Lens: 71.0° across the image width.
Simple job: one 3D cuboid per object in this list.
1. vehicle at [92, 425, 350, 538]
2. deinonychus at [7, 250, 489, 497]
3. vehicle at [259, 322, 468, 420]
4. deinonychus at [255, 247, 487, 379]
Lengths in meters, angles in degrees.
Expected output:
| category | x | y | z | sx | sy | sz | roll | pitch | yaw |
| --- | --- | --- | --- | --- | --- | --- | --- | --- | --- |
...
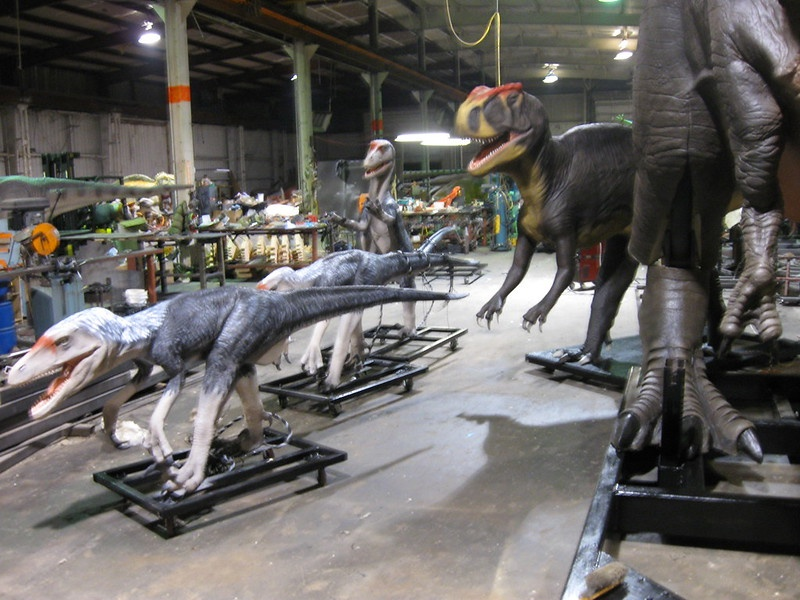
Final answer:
| category | x | y | z | sx | sy | sz | roll | pitch | yaw |
| --- | --- | --- | --- | --- | --- | --- | --- | --- | --- |
| vehicle | -0.933 | 1.000 | 3.142 | 0.879 | 0.181 | 0.640 | -7 | 11 | -42 |
| deinonychus | -0.725 | 0.153 | 3.748 | 2.851 | 1.225 | 0.770 | -15 | 10 | -26 |
| vehicle | -0.214 | 0.598 | 5.021 | 0.771 | 0.218 | 1.589 | 6 | 17 | 32 |
| deinonychus | -0.317 | 0.018 | 4.300 | 0.630 | 0.855 | 2.044 | 11 | 24 | 43 |
